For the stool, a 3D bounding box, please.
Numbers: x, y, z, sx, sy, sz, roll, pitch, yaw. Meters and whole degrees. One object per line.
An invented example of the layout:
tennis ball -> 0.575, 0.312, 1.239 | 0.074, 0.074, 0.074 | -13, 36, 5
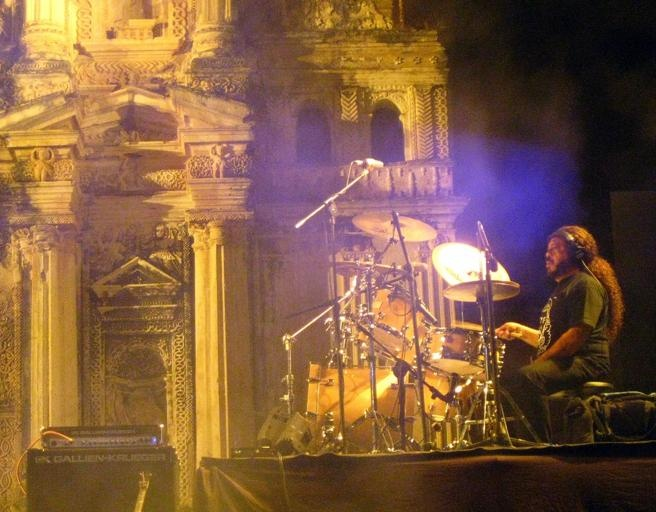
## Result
stool -> 2.881, 1.874, 13.780 | 0.884, 0.678, 0.635 | -11, -13, 40

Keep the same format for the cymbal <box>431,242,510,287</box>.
cymbal -> 1.835, 0.109, 15.142 | 0.950, 0.572, 0.709 | 0, -4, 1

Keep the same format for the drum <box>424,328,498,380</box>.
drum -> 1.617, 1.187, 14.681 | 0.680, 0.366, 0.649 | 3, -28, 2

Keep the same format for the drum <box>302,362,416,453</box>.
drum -> 0.441, 2.151, 16.176 | 1.544, 1.305, 0.792 | -1, -8, 3

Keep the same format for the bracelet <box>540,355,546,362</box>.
bracelet -> 2.609, 1.252, 14.183 | 0.014, 0.054, 0.057 | 4, -38, -46

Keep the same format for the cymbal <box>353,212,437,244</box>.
cymbal -> 0.919, -0.355, 15.619 | 0.993, 0.421, 0.699 | -1, -6, 9
